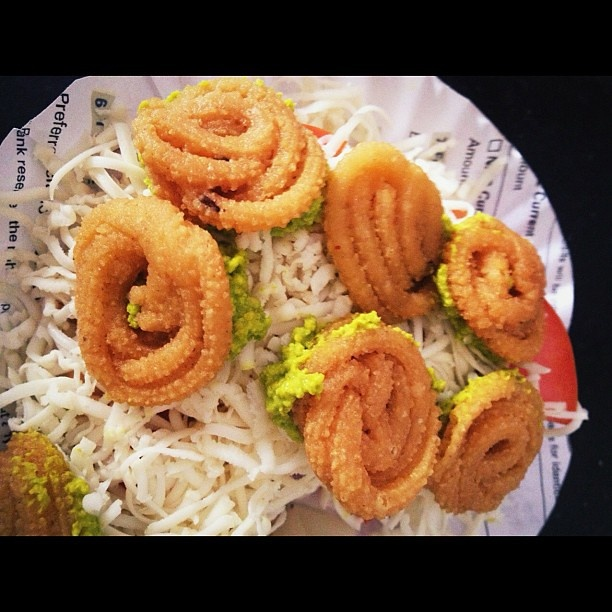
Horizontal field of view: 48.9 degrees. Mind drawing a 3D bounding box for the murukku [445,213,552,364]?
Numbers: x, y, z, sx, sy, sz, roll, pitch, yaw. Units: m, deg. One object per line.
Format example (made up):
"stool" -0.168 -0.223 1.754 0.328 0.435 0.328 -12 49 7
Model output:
"murukku" 0.420 -0.037 1.477 0.268 0.096 0.281 -7 84 -16
